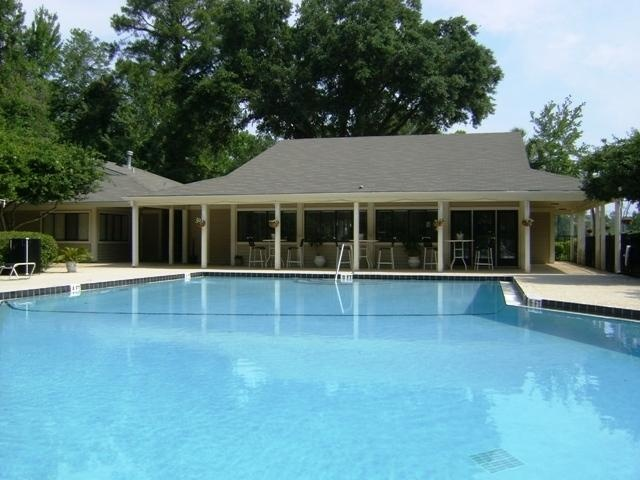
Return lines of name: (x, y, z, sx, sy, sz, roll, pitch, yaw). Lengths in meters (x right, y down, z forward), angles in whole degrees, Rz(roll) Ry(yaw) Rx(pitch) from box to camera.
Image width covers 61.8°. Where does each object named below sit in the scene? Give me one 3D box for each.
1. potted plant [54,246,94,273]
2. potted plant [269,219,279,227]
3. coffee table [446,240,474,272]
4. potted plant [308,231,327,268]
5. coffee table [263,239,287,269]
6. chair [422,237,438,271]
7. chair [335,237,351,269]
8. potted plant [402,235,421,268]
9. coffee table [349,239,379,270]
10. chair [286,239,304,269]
potted plant: (-8.299, 0.660, 18.569, 1.358, 0.963, 1.336, 5, -6, -44)
potted plant: (-1.572, -0.553, 18.266, 0.267, 0.200, 0.279, -1, -4, -3)
coffee table: (5.229, 0.609, 19.542, 1.077, 1.042, 1.085, 1, -4, 2)
potted plant: (-0.124, 0.390, 20.091, 0.739, 1.282, 0.584, 0, 4, 5)
coffee table: (-1.687, 0.512, 20.325, 0.925, 1.017, 0.686, -1, 4, -6)
chair: (3.991, 0.497, 19.488, 0.490, 1.127, 0.456, 0, 4, 7)
chair: (0.883, 0.550, 19.463, 0.591, 0.980, 1.453, 0, 4, 2)
potted plant: (3.321, 0.449, 19.574, 0.620, 1.208, 0.454, 1, 4, 9)
coffee table: (1.418, 0.575, 18.751, 1.003, 1.077, 2.561, 1, 4, 9)
chair: (-0.942, 0.498, 20.166, 0.671, 1.040, 0.943, 0, 4, -3)
